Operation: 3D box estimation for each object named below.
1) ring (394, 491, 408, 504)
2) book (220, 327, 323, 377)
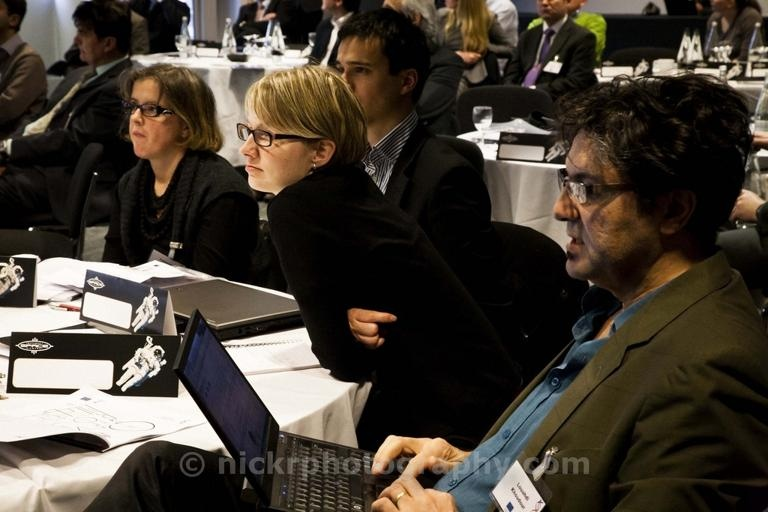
[{"bbox_3d":[0.037,0.539,1.574,0.027,0.010,0.020,-42,-2,-6],"label":"ring"},{"bbox_3d":[-0.330,0.281,2.026,0.348,0.057,0.312,-5,11,-27],"label":"book"}]
